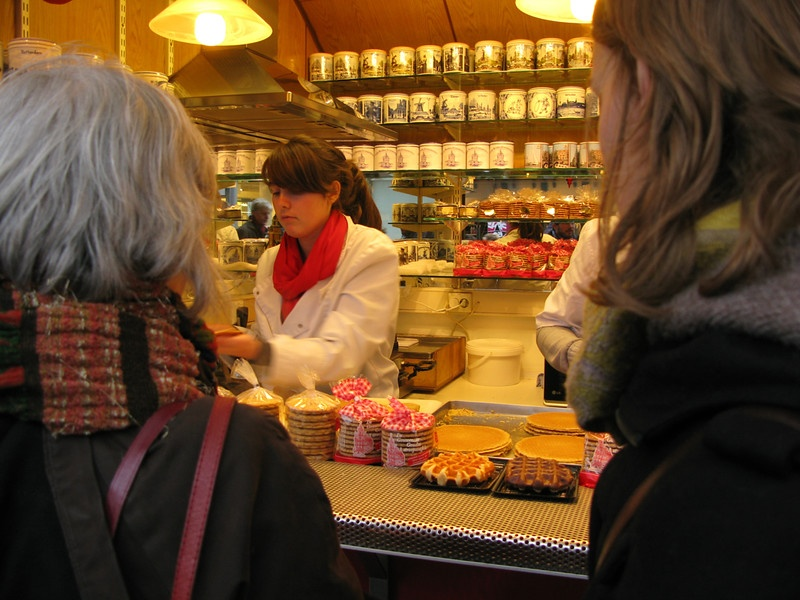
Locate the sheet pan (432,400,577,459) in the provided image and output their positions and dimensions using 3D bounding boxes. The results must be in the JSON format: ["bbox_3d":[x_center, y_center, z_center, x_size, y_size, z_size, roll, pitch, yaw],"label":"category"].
[{"bbox_3d":[0.345,0.437,2.030,0.322,0.033,0.305,3,7,17],"label":"sheet pan"}]

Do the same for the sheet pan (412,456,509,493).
[{"bbox_3d":[0.148,0.465,1.582,0.242,0.028,0.147,1,10,1],"label":"sheet pan"}]

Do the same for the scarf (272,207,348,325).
[{"bbox_3d":[-0.383,-0.148,2.531,0.171,0.457,0.341,22,-10,-37],"label":"scarf"}]

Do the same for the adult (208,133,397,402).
[{"bbox_3d":[-0.433,0.116,2.628,0.861,1.521,0.768,0,0,-16],"label":"adult"}]

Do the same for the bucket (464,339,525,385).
[{"bbox_3d":[0.504,0.345,3.315,0.299,0.215,0.297,0,3,0],"label":"bucket"}]

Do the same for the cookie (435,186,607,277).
[{"bbox_3d":[0.662,-0.358,3.276,0.590,0.615,0.163,3,-21,32],"label":"cookie"}]

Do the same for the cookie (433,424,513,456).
[{"bbox_3d":[0.234,0.440,1.953,0.234,0.049,0.313,2,11,5],"label":"cookie"}]

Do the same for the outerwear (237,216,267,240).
[{"bbox_3d":[-0.916,-0.414,3.793,0.206,0.175,0.111,-2,5,-20],"label":"outerwear"}]

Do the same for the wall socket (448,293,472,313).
[{"bbox_3d":[0.355,0.013,3.591,0.118,0.109,0.028,4,11,16],"label":"wall socket"}]
